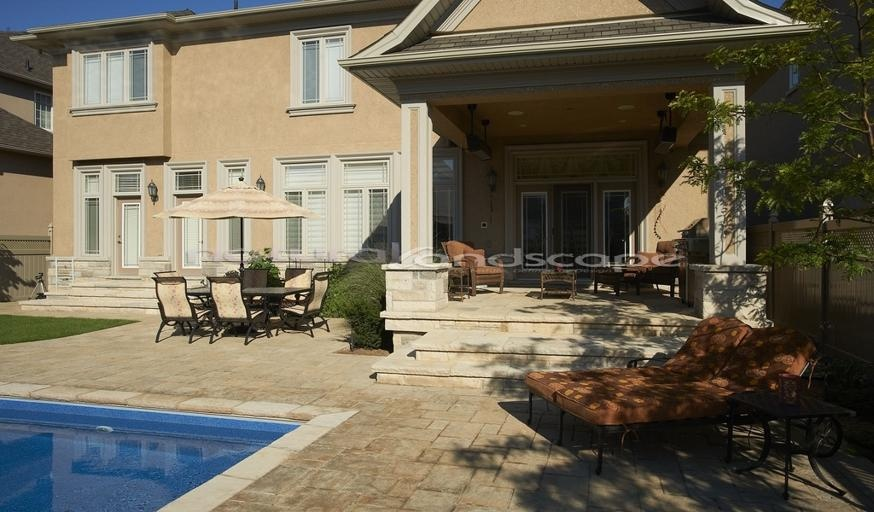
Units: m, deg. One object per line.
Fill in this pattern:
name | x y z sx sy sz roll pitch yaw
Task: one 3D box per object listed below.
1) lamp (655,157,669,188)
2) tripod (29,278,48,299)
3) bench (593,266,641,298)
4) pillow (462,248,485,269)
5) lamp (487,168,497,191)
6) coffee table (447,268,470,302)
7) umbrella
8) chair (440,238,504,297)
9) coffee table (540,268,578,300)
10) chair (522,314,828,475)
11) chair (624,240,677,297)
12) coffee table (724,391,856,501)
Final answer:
lamp | 6.071 -2.222 18.114 0.317 0.708 0.189 -1 0 10
tripod | -13.339 1.060 22.558 0.682 0.811 0.554 3 -11 -24
bench | 4.416 0.520 16.522 0.818 0.510 1.171 0 -1 25
pillow | 1.006 0.045 17.564 0.719 0.435 0.627 -1 9 -3
lamp | 1.564 -2.123 18.758 0.243 0.605 0.259 -1 0 2
coffee table | 0.552 0.670 16.669 0.737 0.743 0.840 -1 1 13
umbrella | -4.915 -0.754 17.242 3.977 2.265 3.757 3 7 5
chair | 0.862 0.218 17.113 1.067 1.119 1.342 -3 6 -37
coffee table | 2.852 0.642 15.879 0.814 0.638 1.076 -1 0 9
chair | 3.858 2.131 10.881 4.133 1.600 2.332 -1 0 -14
chair | 5.627 0.224 16.876 1.051 1.148 1.250 5 6 30
coffee table | 5.242 2.788 10.503 1.848 1.465 1.589 -1 -4 -22
